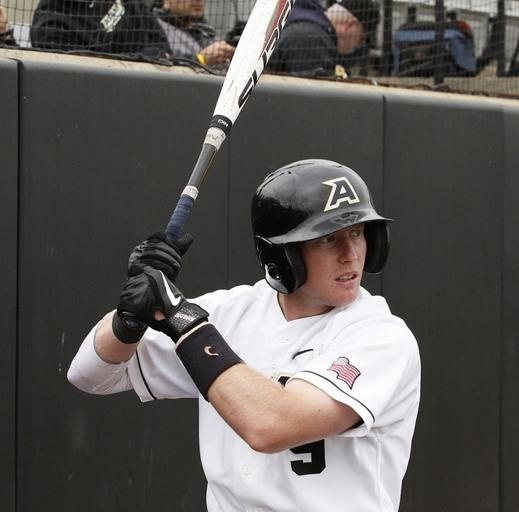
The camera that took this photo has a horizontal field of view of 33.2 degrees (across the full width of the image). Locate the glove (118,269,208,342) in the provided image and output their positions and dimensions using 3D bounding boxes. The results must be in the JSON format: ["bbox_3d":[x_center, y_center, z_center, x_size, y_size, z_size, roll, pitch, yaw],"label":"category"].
[{"bbox_3d":[-0.343,0.170,3.018,0.321,0.222,0.136,10,14,31],"label":"glove"}]

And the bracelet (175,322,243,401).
[{"bbox_3d":[-0.171,0.357,2.941,0.207,0.232,0.130,13,16,40],"label":"bracelet"}]

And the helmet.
[{"bbox_3d":[0.194,-0.096,3.348,0.424,0.446,0.520,-2,-2,-38],"label":"helmet"}]
